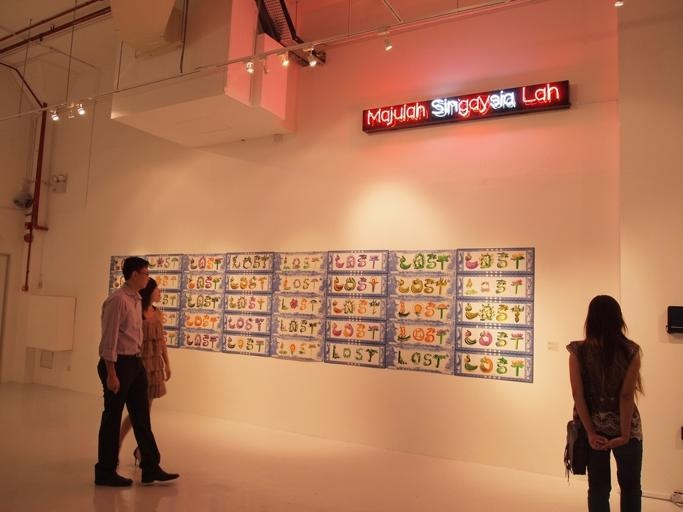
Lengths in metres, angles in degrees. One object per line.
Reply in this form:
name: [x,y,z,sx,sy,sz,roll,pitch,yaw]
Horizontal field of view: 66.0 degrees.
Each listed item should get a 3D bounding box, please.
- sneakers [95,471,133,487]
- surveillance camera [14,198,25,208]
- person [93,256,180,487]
sneakers: [-2.185,2.146,5.055,0.367,0.162,0.140,2,-5,-5]
surveillance camera: [-5.617,-0.937,9.100,0.156,0.195,0.112,2,-1,28]
person: [-2.013,1.115,5.037,0.599,2.230,0.324,2,-1,-28]
